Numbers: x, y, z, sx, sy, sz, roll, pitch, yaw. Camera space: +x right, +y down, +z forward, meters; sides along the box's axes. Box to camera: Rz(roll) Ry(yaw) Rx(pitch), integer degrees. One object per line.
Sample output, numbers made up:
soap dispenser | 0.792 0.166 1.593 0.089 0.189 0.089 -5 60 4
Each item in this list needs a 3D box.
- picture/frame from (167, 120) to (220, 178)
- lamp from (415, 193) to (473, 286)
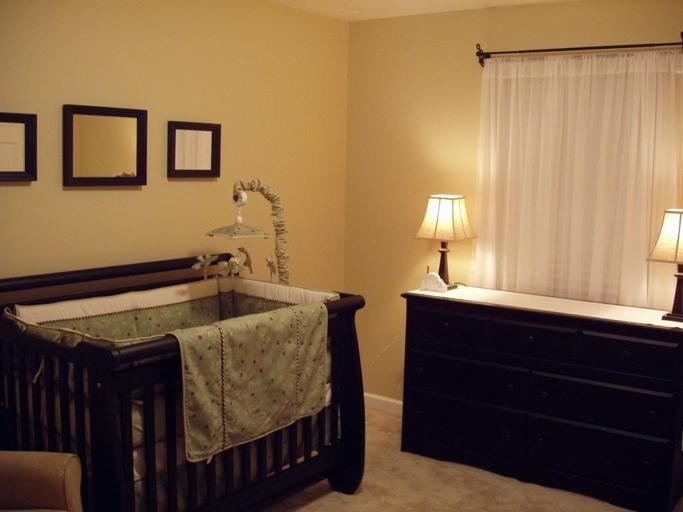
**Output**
picture/frame | -0.874 -0.629 3.247 0.033 0.310 0.316 7 9 43
lamp | 0.692 -0.094 3.631 0.327 0.607 0.401 2 11 23
